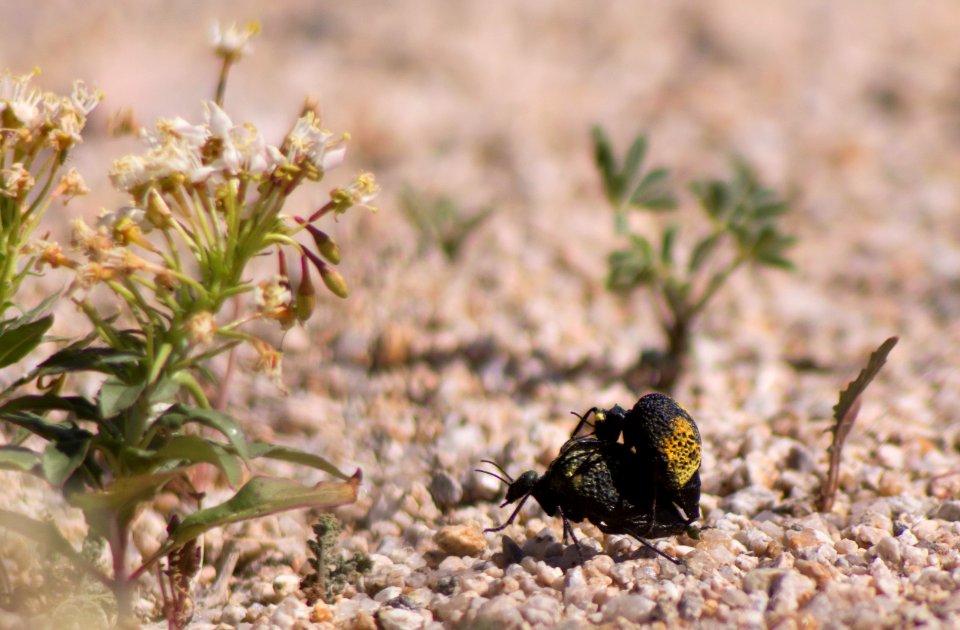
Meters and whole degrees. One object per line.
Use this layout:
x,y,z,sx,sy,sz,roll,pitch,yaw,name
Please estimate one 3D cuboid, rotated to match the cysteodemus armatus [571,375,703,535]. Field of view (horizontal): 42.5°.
0.355,0.260,2.495,0.239,0.243,0.158,36,-75,15,cysteodemus armatus
